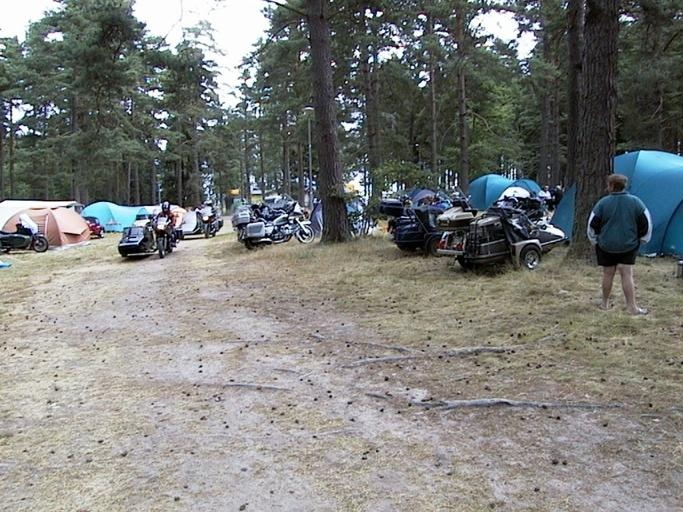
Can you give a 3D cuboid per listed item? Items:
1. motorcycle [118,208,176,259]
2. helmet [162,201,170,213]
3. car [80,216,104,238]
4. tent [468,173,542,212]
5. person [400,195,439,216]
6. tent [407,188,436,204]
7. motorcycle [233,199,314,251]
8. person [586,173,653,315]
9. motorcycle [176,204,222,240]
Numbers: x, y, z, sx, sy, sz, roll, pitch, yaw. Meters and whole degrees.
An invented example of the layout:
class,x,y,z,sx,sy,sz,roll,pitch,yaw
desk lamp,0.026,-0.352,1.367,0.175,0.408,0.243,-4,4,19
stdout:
class,x,y,z,sx,sy,sz,roll,pitch,yaw
motorcycle,-6.548,-0.690,21.113,1.517,1.405,2.141,-5,10,-7
helmet,-6.118,-1.705,21.731,0.246,0.327,0.346,-1,3,-5
car,-12.865,-1.509,32.310,0.978,1.137,1.812,0,-2,5
tent,7.794,-3.347,31.241,3.589,1.428,3.223,-5,8,-14
person,2.208,-1.431,17.874,1.200,0.550,1.289,-2,5,5
tent,3.309,-2.577,26.051,1.057,0.510,1.120,-7,11,-14
motorcycle,-2.370,-1.082,22.175,2.837,1.751,1.412,-9,13,-33
person,4.633,-0.217,10.536,0.932,2.256,0.589,2,10,32
motorcycle,-6.553,-1.598,29.123,1.052,1.475,2.529,4,8,18
